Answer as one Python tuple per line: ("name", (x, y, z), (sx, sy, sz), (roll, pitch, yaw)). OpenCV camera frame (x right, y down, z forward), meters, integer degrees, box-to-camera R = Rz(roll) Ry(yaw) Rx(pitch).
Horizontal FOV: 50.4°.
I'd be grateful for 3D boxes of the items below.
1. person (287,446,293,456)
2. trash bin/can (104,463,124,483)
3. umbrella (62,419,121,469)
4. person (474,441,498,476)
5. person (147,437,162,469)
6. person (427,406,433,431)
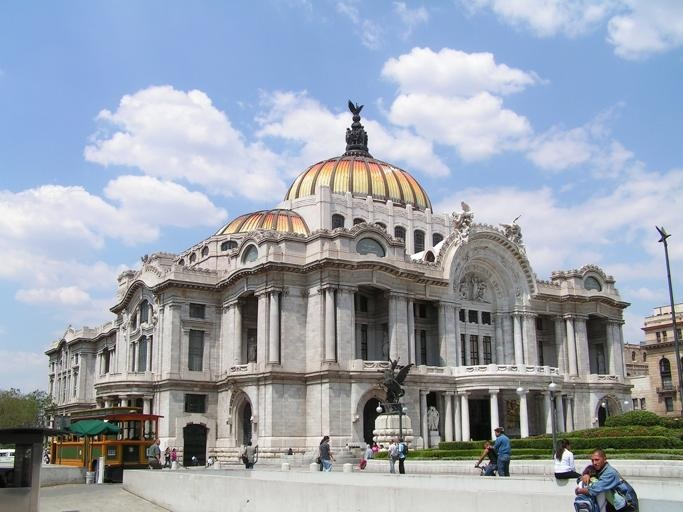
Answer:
("person", (-3.968, 14.830, 55.598), (0.460, 0.580, 0.764), (-1, -17, -3))
("trash bin/can", (-13.199, 12.393, 41.787), (1.165, 1.122, 1.193), (4, -28, -15))
("umbrella", (-14.695, 10.859, 41.787), (2.594, 2.814, 2.619), (-5, -1, -9))
("person", (5.869, 8.291, 29.183), (0.711, 1.847, 0.940), (5, -11, -37))
("person", (-9.785, 10.369, 37.750), (0.595, 1.234, 1.477), (4, -18, -18))
("person", (7.432, 13.468, 60.712), (0.545, 1.915, 0.270), (-4, -16, 8))
